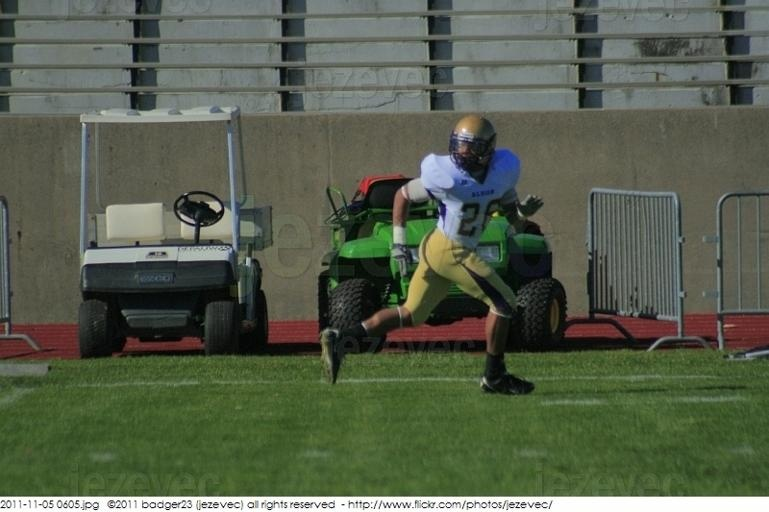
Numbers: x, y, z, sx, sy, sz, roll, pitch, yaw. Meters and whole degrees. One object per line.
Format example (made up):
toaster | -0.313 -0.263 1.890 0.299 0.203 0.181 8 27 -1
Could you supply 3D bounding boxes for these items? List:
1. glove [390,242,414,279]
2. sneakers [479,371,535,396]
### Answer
glove | 0.260 -0.020 26.485 0.176 0.368 0.241 -8 48 -45
sneakers | 1.564 1.603 26.609 0.689 0.280 0.254 -1 0 -5
